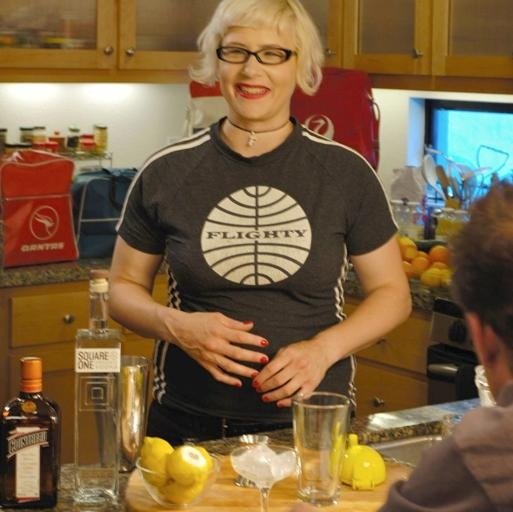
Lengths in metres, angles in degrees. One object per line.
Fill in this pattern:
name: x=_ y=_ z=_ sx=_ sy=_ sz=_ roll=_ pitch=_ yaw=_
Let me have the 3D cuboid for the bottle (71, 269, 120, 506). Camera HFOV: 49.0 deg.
bottle: x=-0.236 y=0.199 z=0.827 sx=0.069 sy=0.330 sz=0.053 roll=-2 pitch=3 yaw=-14

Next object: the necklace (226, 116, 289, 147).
necklace: x=-0.013 y=-0.272 z=1.186 sx=0.105 sy=0.060 sz=0.023 roll=5 pitch=30 yaw=6

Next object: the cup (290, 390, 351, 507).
cup: x=0.091 y=0.273 z=0.793 sx=0.076 sy=0.146 sz=0.072 roll=-1 pitch=3 yaw=0

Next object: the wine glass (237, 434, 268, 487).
wine glass: x=-0.007 y=0.312 z=0.868 sx=0.070 sy=0.063 sz=0.066 roll=0 pitch=2 yaw=-3

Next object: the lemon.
lemon: x=-0.107 y=0.273 z=0.753 sx=0.094 sy=0.061 sz=0.090 roll=1 pitch=-2 yaw=3

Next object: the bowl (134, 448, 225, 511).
bowl: x=-0.105 y=0.303 z=0.758 sx=0.104 sy=0.049 sz=0.096 roll=0 pitch=2 yaw=0

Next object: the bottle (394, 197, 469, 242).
bottle: x=0.694 y=-0.147 z=2.275 sx=0.295 sy=0.141 sz=0.159 roll=5 pitch=-26 yaw=7

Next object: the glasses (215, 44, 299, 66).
glasses: x=-0.003 y=-0.418 z=1.180 sx=0.164 sy=0.050 sz=0.048 roll=-1 pitch=3 yaw=2

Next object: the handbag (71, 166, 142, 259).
handbag: x=-0.689 y=-0.181 z=2.940 sx=0.468 sy=0.450 sz=0.515 roll=1 pitch=-2 yaw=-8
